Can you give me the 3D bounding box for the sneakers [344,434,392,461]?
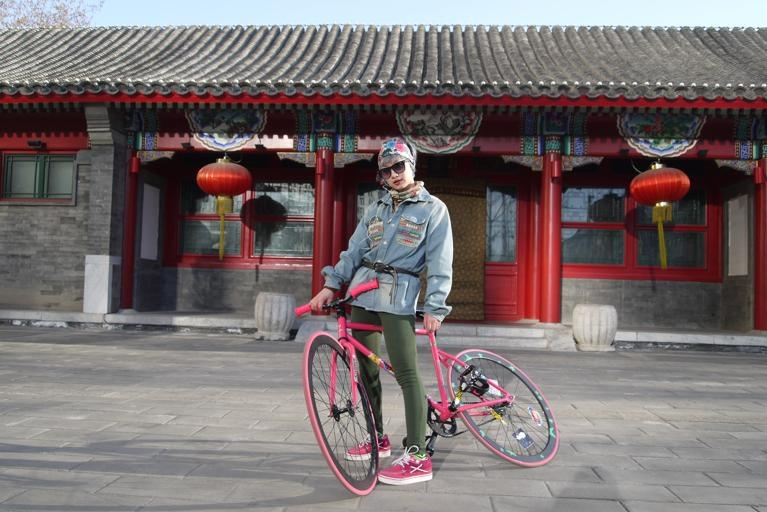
[{"bbox_3d":[-0.177,2.390,12.253,0.660,0.248,0.224,2,-12,-8],"label":"sneakers"}]
